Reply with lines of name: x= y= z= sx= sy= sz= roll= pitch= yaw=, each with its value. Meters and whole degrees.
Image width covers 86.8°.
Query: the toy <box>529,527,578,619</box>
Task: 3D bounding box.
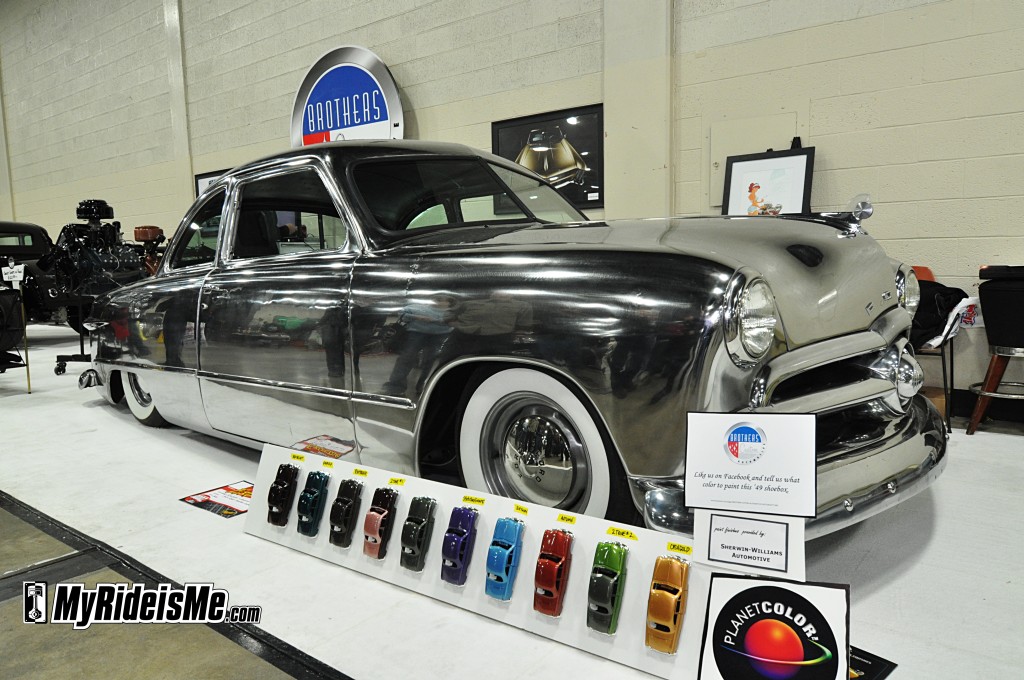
toy: x=0.136 y=0.739 z=1.748 sx=0.125 sy=0.262 sz=0.080 roll=7 pitch=6 yaw=35

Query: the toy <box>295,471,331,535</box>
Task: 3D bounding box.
toy: x=-0.782 y=0.655 z=2.189 sx=0.148 sy=0.245 sz=0.070 roll=6 pitch=6 yaw=28

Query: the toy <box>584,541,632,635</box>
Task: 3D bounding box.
toy: x=0.290 y=0.757 z=1.646 sx=0.096 sy=0.266 sz=0.101 roll=6 pitch=12 yaw=36

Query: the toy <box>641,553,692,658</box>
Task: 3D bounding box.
toy: x=0.445 y=0.755 z=1.574 sx=0.125 sy=0.263 sz=0.085 roll=7 pitch=2 yaw=34

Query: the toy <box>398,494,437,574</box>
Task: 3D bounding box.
toy: x=-0.327 y=0.683 z=1.919 sx=0.124 sy=0.260 sz=0.091 roll=3 pitch=-2 yaw=32

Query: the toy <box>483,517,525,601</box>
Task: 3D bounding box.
toy: x=-0.020 y=0.716 z=1.822 sx=0.127 sy=0.266 sz=0.085 roll=8 pitch=6 yaw=32

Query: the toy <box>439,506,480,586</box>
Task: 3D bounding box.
toy: x=-0.160 y=0.706 z=1.900 sx=0.126 sy=0.262 sz=0.090 roll=3 pitch=-6 yaw=35

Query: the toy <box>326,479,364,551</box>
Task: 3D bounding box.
toy: x=-0.629 y=0.680 z=2.143 sx=0.138 sy=0.253 sz=0.114 roll=4 pitch=2 yaw=31

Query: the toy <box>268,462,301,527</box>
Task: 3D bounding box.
toy: x=-0.925 y=0.641 z=2.308 sx=0.156 sy=0.255 sz=0.098 roll=5 pitch=10 yaw=28
